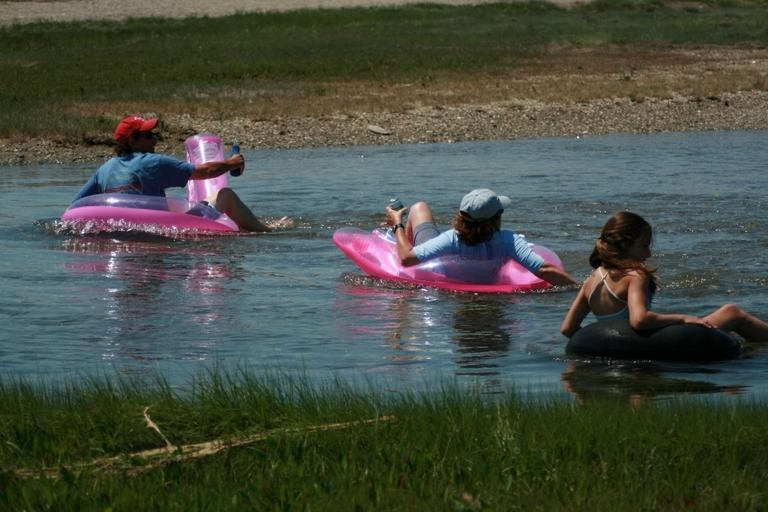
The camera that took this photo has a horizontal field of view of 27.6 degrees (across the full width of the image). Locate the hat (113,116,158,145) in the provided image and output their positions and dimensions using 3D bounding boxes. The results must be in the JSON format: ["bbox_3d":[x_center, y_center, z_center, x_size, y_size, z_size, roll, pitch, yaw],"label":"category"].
[{"bbox_3d":[-5.148,-2.603,31.750,0.978,0.383,0.545,-22,16,-1],"label":"hat"}]
